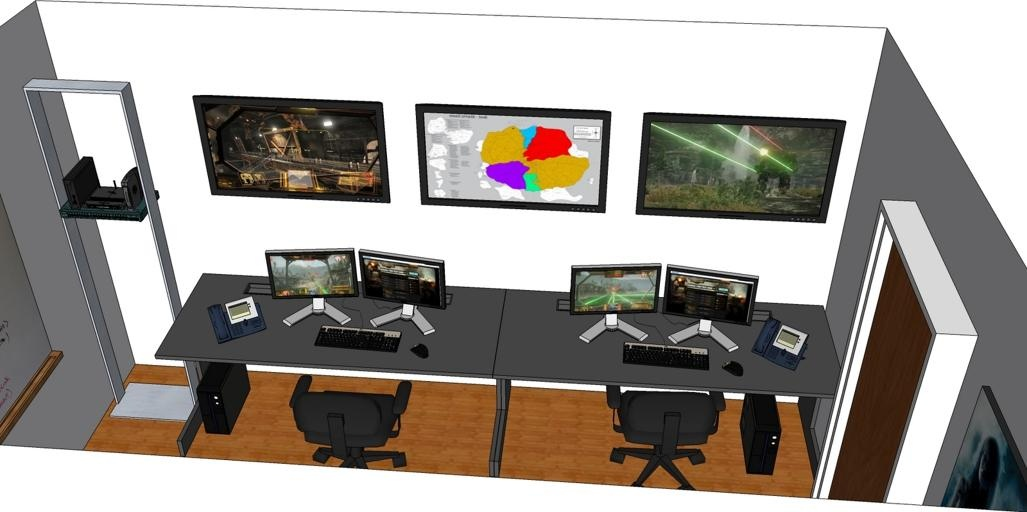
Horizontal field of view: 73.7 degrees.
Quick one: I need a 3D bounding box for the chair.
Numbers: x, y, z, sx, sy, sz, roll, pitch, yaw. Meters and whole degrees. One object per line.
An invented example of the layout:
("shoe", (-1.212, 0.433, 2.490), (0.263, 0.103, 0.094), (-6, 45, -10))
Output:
("chair", (1.455, 1.752, 6.614), (1.092, 0.963, 0.860), (1, -7, 13))
